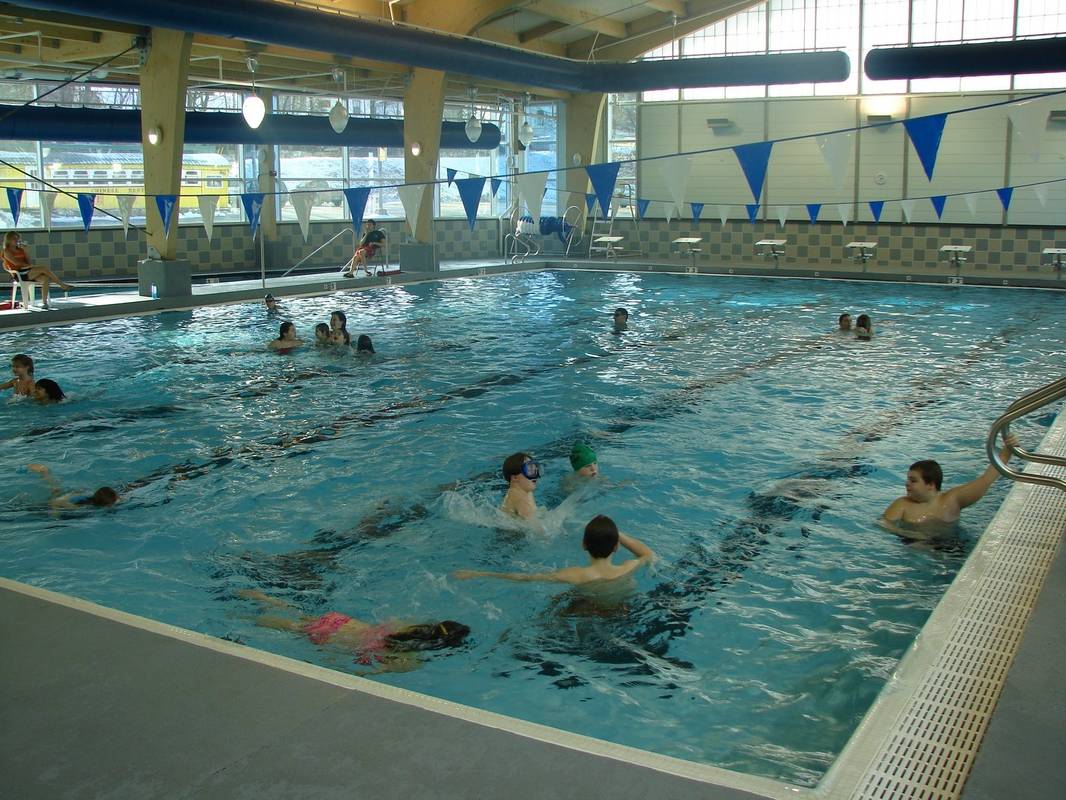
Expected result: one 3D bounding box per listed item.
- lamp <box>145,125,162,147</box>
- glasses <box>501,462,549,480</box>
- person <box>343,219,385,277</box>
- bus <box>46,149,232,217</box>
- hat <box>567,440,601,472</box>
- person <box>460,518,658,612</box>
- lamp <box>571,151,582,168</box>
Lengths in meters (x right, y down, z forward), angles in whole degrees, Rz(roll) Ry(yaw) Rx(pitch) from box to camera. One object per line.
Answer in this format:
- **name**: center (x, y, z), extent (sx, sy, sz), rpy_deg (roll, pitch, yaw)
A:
- **lamp**: center (-5.167, -3.619, 10.568), extent (0.269, 0.261, 0.101), rpy_deg (4, 15, 27)
- **glasses**: center (-0.051, 0.370, 4.242), extent (0.191, 0.102, 0.118), rpy_deg (-5, 13, 13)
- **person**: center (-3.288, -2.987, 15.176), extent (0.805, 1.072, 3.284), rpy_deg (-5, 11, -10)
- **bus**: center (-7.446, -4.286, 14.889), extent (0.843, 1.165, 3.208), rpy_deg (7, 14, 38)
- **hat**: center (0.308, 0.353, 4.874), extent (0.213, 0.135, 0.160), rpy_deg (14, 23, 42)
- **person**: center (0.119, 0.814, 3.757), extent (0.611, 0.234, 0.916), rpy_deg (-12, 5, -33)
- **lamp**: center (0.986, -5.500, 17.621), extent (0.198, 0.266, 0.361), rpy_deg (-7, 12, -18)
